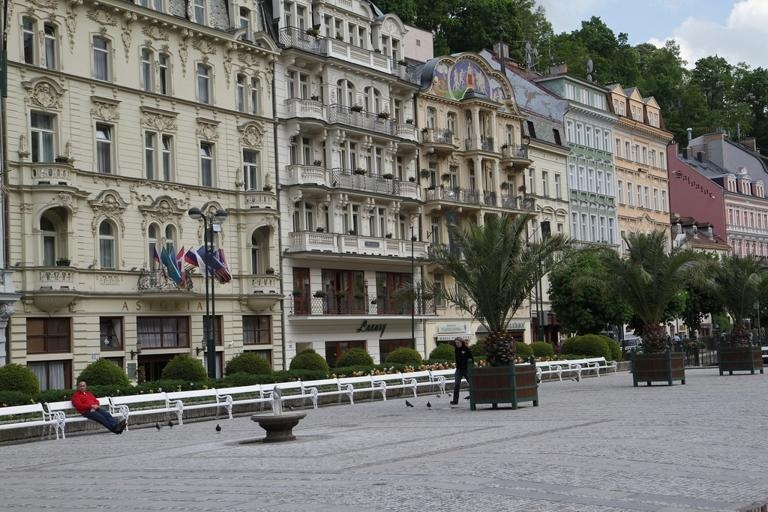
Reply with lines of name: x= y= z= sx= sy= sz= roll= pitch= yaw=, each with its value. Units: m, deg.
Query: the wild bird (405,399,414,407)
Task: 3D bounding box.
wild bird: x=0.960 y=5.884 z=48.879 sx=0.153 sy=0.250 sz=0.447 roll=-8 pitch=-15 yaw=29

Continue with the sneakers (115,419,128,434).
sneakers: x=-9.505 y=6.178 z=44.450 sx=0.210 sy=0.599 sz=0.264 roll=27 pitch=-12 yaw=-28

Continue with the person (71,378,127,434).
person: x=-10.262 y=5.458 z=44.314 sx=2.289 sy=1.218 sz=0.952 roll=17 pitch=13 yaw=29
